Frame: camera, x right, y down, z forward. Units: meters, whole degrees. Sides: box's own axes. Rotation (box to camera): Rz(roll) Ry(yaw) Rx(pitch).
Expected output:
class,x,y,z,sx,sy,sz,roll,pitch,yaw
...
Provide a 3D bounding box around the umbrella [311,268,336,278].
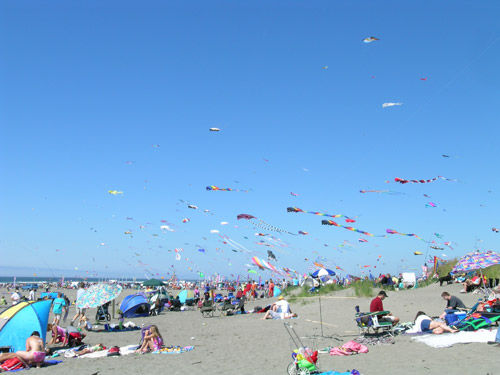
class,x,y,z,sx,sy,sz,roll,pitch,yaw
umbrella,4.560,5.324,28.225,1.432,0.535,2.039,-4,-13,6

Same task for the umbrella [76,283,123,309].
class,x,y,z,sx,sy,sz,roll,pitch,yaw
umbrella,-5.850,4.196,17.435,1.597,0.914,1.129,5,-15,-29

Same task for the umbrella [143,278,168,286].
class,x,y,z,sx,sy,sz,roll,pitch,yaw
umbrella,-5.414,5.445,25.846,1.141,0.347,0.844,-8,-14,23

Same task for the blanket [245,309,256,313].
class,x,y,z,sx,sy,sz,roll,pitch,yaw
blanket,0.030,6.355,23.042,0.492,0.121,0.904,0,-13,-12

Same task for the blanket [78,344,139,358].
class,x,y,z,sx,sy,sz,roll,pitch,yaw
blanket,-4.236,5.104,13.944,1.891,0.151,0.978,9,-17,-43

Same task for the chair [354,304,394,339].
class,x,y,z,sx,sy,sz,roll,pitch,yaw
chair,4.007,4.315,14.462,1.260,0.885,0.991,-4,-16,14

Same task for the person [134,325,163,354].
class,x,y,z,sx,sy,sz,roll,pitch,yaw
person,-3.225,4.769,14.317,0.870,0.719,0.407,8,-14,-19

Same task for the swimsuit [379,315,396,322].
class,x,y,z,sx,sy,sz,roll,pitch,yaw
swimsuit,4.403,4.214,14.392,0.435,0.141,0.421,7,-10,-43

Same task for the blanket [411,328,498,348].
class,x,y,z,sx,sy,sz,roll,pitch,yaw
blanket,5.950,4.347,12.945,2.222,0.311,1.324,-4,-13,7

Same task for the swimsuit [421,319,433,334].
class,x,y,z,sx,sy,sz,roll,pitch,yaw
swimsuit,5.471,4.287,13.884,0.242,0.357,0.407,10,-15,-26

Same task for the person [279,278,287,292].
class,x,y,z,sx,sy,sz,roll,pitch,yaw
person,2.812,8.122,37.363,0.392,1.128,1.289,10,-7,2

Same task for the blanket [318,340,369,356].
class,x,y,z,sx,sy,sz,roll,pitch,yaw
blanket,2.733,4.724,13.157,1.419,0.294,0.670,-6,-13,16

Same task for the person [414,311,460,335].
class,x,y,z,sx,sy,sz,roll,pitch,yaw
person,5.708,4.211,13.943,0.680,0.598,1.323,7,-16,-36

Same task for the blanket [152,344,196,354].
class,x,y,z,sx,sy,sz,roll,pitch,yaw
blanket,-2.363,5.131,14.429,1.205,0.206,1.257,-4,-13,4

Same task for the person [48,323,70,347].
class,x,y,z,sx,sy,sz,roll,pitch,yaw
person,-6.278,4.872,14.844,0.670,0.713,0.412,1,-15,-18

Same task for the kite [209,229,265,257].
class,x,y,z,sx,sy,sz,roll,pitch,yaw
kite,-0.745,3.791,32.079,3.095,1.975,3.806,2,-6,-7

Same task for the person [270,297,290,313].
class,x,y,z,sx,sy,sz,roll,pitch,yaw
person,1.372,5.194,19.859,0.583,0.660,0.920,-1,-13,-7

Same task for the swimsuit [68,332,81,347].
class,x,y,z,sx,sy,sz,roll,pitch,yaw
swimsuit,-5.858,5.027,14.962,0.398,0.366,0.300,18,-10,34

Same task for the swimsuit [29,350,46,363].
class,x,y,z,sx,sy,sz,roll,pitch,yaw
swimsuit,-5.969,4.764,12.670,0.252,0.286,0.301,17,-19,-31
